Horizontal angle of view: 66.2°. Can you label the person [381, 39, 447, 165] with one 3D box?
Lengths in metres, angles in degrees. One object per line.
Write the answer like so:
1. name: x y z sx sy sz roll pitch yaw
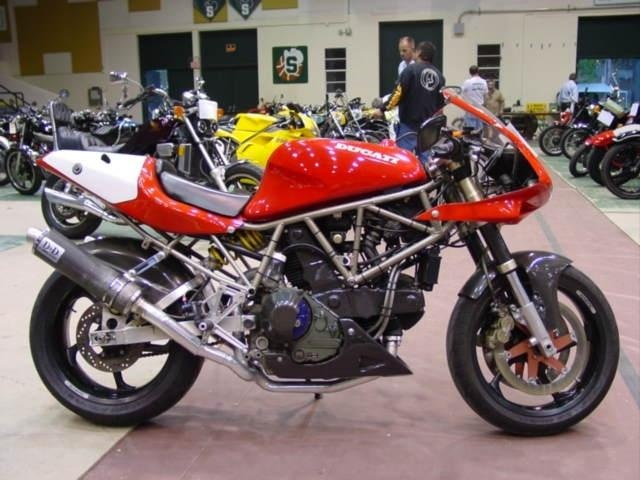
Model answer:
1. person: 1.128 -1.423 5.887 0.653 1.865 0.515 6 -3 -21
